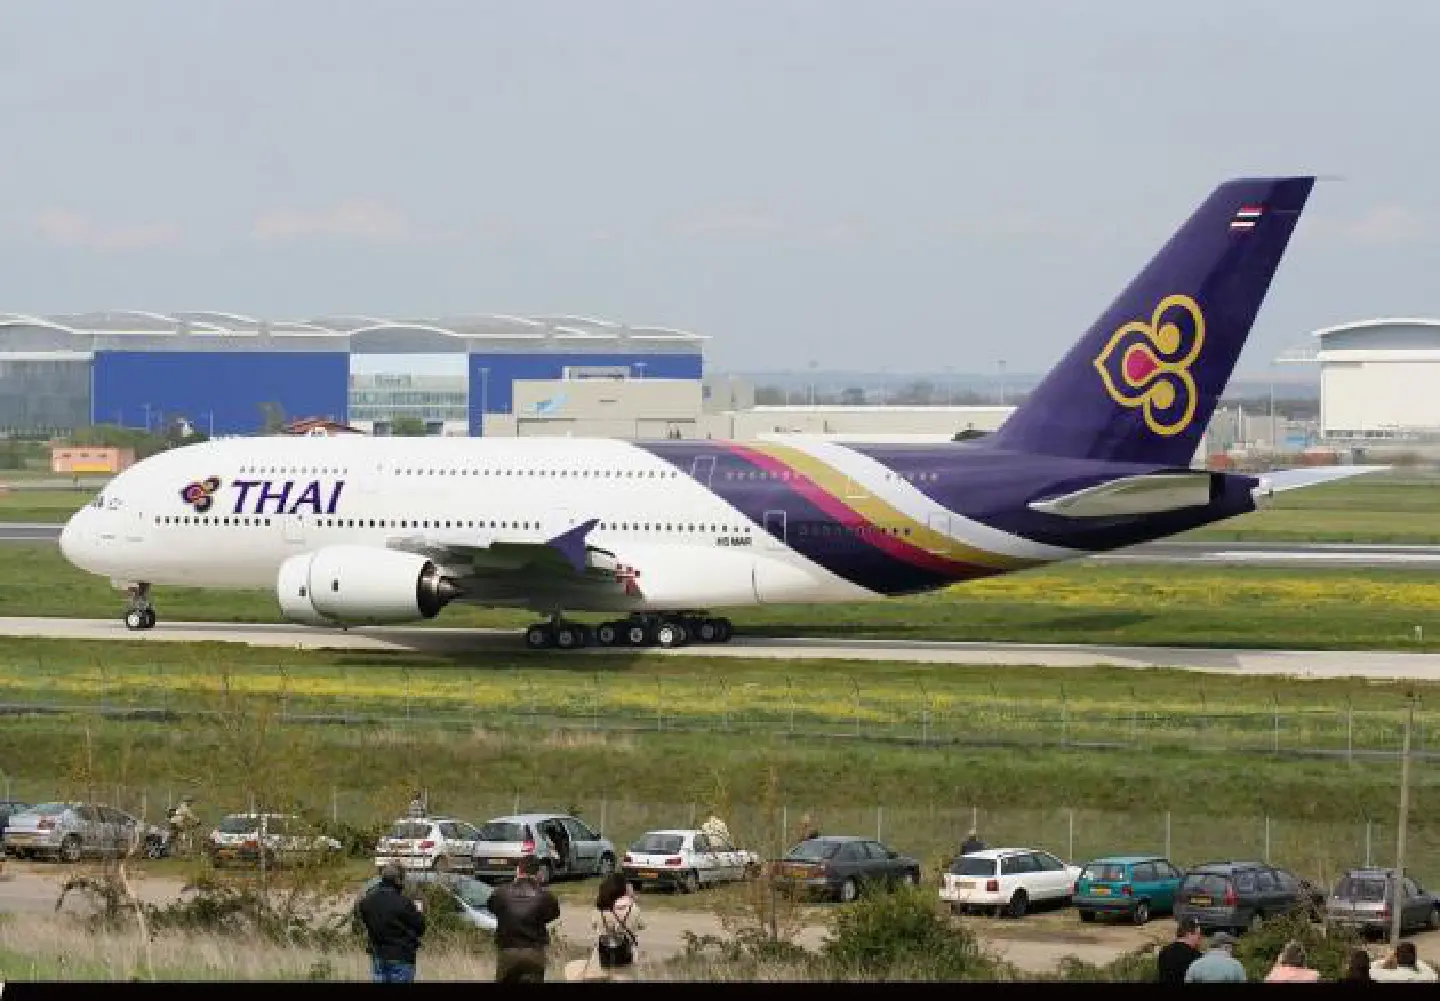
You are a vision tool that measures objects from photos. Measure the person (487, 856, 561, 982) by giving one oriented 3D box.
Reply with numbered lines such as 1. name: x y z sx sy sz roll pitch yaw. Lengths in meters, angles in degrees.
1. person: -4.168 8.647 57.270 1.330 2.140 0.684 4 -1 -3

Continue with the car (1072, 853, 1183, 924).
1. car: 10.020 9.387 67.431 1.500 1.015 2.713 1 4 42

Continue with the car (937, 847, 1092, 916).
1. car: 7.121 9.212 68.611 4.335 1.389 2.989 0 5 22

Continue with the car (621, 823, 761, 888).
1. car: -0.630 8.838 69.086 3.247 1.380 3.972 0 3 12

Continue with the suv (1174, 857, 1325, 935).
1. suv: 12.749 9.629 66.407 3.751 1.642 2.985 -4 3 7

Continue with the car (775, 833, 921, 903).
1. car: 3.068 9.072 67.614 2.780 1.514 4.366 0 5 38

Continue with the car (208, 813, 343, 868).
1. car: -10.825 8.155 65.475 3.356 1.042 1.906 -1 0 13

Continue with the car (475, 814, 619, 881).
1. car: -4.433 8.556 68.979 3.249 1.122 1.864 -5 5 -40

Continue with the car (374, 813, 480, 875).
1. car: -7.266 8.427 68.613 1.577 0.812 2.515 1 3 24
